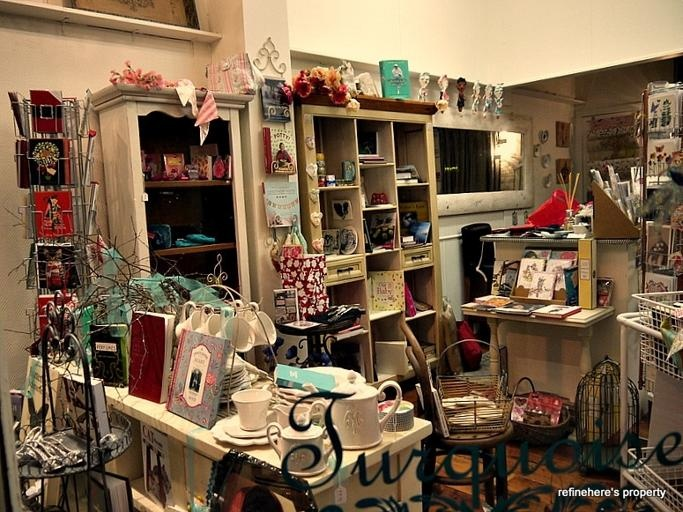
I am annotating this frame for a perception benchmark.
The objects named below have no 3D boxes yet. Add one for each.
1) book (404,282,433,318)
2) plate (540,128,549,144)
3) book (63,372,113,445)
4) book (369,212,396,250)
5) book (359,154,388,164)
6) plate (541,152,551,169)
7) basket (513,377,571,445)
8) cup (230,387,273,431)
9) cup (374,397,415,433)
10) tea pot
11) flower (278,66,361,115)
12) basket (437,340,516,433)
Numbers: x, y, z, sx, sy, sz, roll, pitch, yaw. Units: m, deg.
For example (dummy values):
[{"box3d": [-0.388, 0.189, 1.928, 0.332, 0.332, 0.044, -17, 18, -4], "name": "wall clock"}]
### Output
[{"box3d": [0.751, 0.432, 5.065, 0.157, 0.239, 0.313, 0, 18, -23], "name": "book"}, {"box3d": [2.940, -1.760, 7.598, 0.045, 0.205, 0.195, -3, 7, 33], "name": "plate"}, {"box3d": [-0.937, 0.566, 1.908, 0.106, 0.305, 0.304, -7, -3, -38], "name": "book"}, {"box3d": [0.388, -0.229, 4.812, 0.324, 0.414, 0.053, 1, 2, 44], "name": "book"}, {"box3d": [0.272, -0.864, 4.607, 0.317, 0.088, 0.114, -12, 11, -40], "name": "book"}, {"box3d": [2.987, -1.413, 7.639, 0.169, 0.208, 0.198, -1, 4, 6], "name": "plate"}, {"box3d": [1.516, 1.112, 3.936, 0.428, 0.449, 0.649, -1, 9, 24], "name": "basket"}, {"box3d": [-0.329, 0.563, 1.927, 0.128, 0.107, 0.137, 0, 3, 0], "name": "cup"}, {"box3d": [0.215, 0.606, 2.006, 0.126, 0.082, 0.132, -1, -3, 0], "name": "cup"}, {"box3d": [-0.006, 0.547, 1.844, 0.432, 0.339, 0.256, 1, 0, -31], "name": "tea pot"}, {"box3d": [-0.154, -1.328, 4.114, 0.763, 0.313, 0.191, -11, 10, -37], "name": "flower"}, {"box3d": [0.941, 0.890, 3.647, 0.679, 0.714, 0.528, -2, 7, 5], "name": "basket"}]
